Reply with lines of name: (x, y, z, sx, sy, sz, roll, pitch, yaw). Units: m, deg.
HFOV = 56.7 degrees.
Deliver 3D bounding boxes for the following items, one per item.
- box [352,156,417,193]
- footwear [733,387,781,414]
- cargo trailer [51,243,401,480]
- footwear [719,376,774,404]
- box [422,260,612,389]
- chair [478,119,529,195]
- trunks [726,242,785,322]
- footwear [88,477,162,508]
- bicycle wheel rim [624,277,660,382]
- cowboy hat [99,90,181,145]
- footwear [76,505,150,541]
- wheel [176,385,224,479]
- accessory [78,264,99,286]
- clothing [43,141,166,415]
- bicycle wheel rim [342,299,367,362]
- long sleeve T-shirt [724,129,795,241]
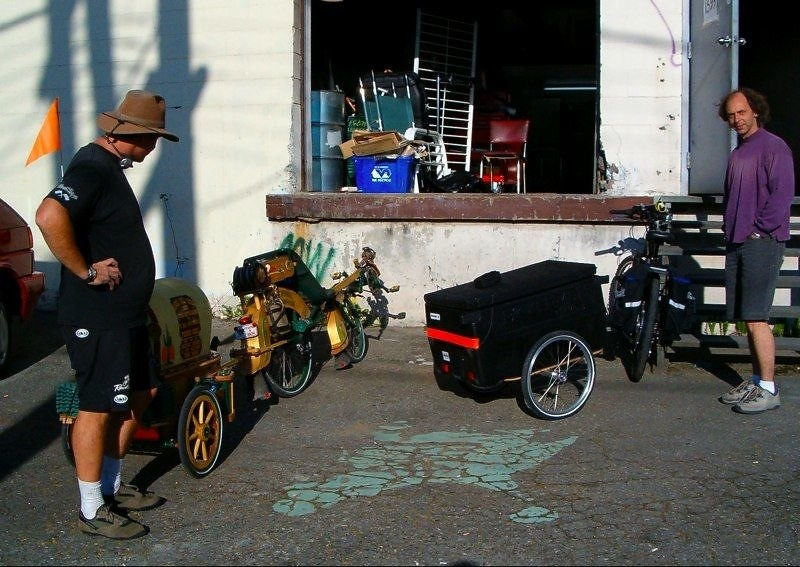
box: (-0.204, -1.328, 8.992, 0.434, 0.335, 0.638, 2, 9, 9)
footwear: (2.971, 0.964, 6.165, 0.398, 0.198, 0.172, -3, 2, -6)
cargo trailer: (-1.454, 0.477, 6.443, 1.348, 1.323, 3.317, 1, 17, 30)
footwear: (2.969, 0.897, 6.323, 0.400, 0.162, 0.144, -28, 15, -10)
box: (1.011, 0.316, 6.474, 1.435, 0.892, 0.868, -14, 12, -30)
chair: (1.554, -1.898, 10.916, 0.593, 1.027, 0.733, 7, 11, 23)
trunks: (2.969, -0.036, 6.208, 0.426, 0.693, 0.266, 2, 10, 23)
footwear: (-1.792, 1.424, 4.997, 0.332, 0.136, 0.129, 2, 5, -10)
bicycle wheel rim: (2.196, 0.381, 6.717, 0.198, 0.770, 0.797, 10, 16, 23)
cowboy hat: (-1.718, -1.155, 4.927, 0.509, 0.273, 0.518, 11, 24, -25)
footwear: (-1.824, 1.532, 4.767, 0.449, 0.173, 0.184, 5, 10, 4)
wheel: (-1.431, 1.061, 5.324, 0.151, 0.671, 0.518, 0, 9, 13)
accessory: (-1.931, -0.047, 4.594, 0.082, 0.061, 0.113, 6, 54, 7)
clothing: (-1.900, -0.047, 4.735, 0.405, 1.668, 0.508, 3, 10, 31)
bicycle wheel rim: (-0.420, 0.473, 7.365, 0.188, 0.504, 0.511, -5, 6, -28)
long sleeve T-shirt: (3.013, -0.821, 6.219, 0.523, 0.946, 0.344, 2, 10, 24)
